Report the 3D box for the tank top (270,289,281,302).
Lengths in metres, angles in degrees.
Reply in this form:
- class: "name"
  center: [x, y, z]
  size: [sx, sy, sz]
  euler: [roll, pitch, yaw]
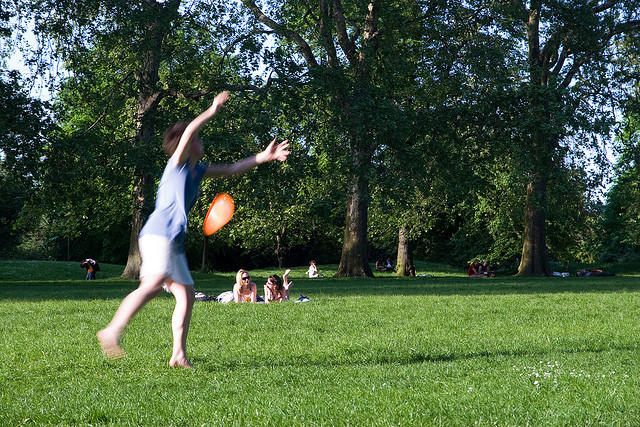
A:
- class: "tank top"
  center: [-1.666, 3.013, 31.549]
  size: [0.444, 0.410, 0.116]
  euler: [5, -8, -20]
